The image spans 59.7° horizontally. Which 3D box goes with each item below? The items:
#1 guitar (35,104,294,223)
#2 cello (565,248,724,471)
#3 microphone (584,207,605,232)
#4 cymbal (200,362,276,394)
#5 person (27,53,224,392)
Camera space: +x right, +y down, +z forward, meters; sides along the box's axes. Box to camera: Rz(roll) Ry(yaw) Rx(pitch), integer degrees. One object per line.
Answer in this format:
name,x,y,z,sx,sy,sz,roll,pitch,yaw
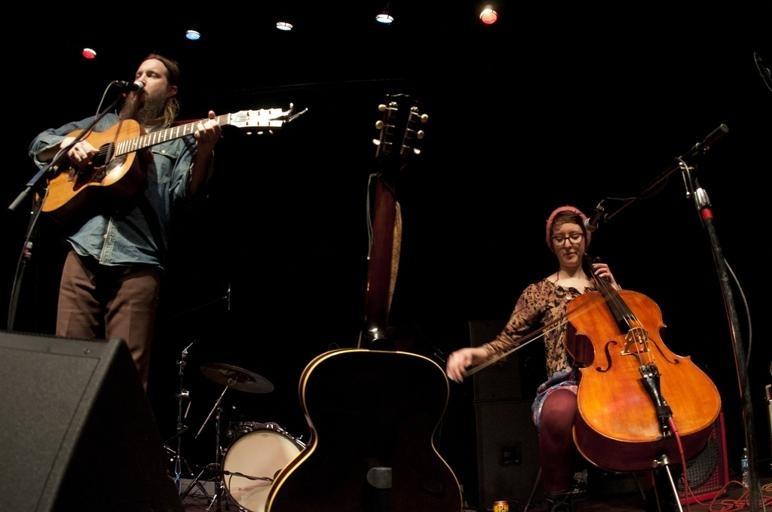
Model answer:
guitar,-1.336,-0.616,4.557,1.842,0.722,0.265,-14,-16,2
cello,1.563,0.693,4.170,0.837,1.191,0.398,-2,-16,11
microphone,1.427,-0.253,4.577,0.128,0.145,0.289,-5,-18,18
cymbal,-1.365,1.091,6.068,0.405,0.093,0.421,0,-35,25
person,-1.743,-0.052,4.312,1.299,2.540,0.806,4,-5,0
